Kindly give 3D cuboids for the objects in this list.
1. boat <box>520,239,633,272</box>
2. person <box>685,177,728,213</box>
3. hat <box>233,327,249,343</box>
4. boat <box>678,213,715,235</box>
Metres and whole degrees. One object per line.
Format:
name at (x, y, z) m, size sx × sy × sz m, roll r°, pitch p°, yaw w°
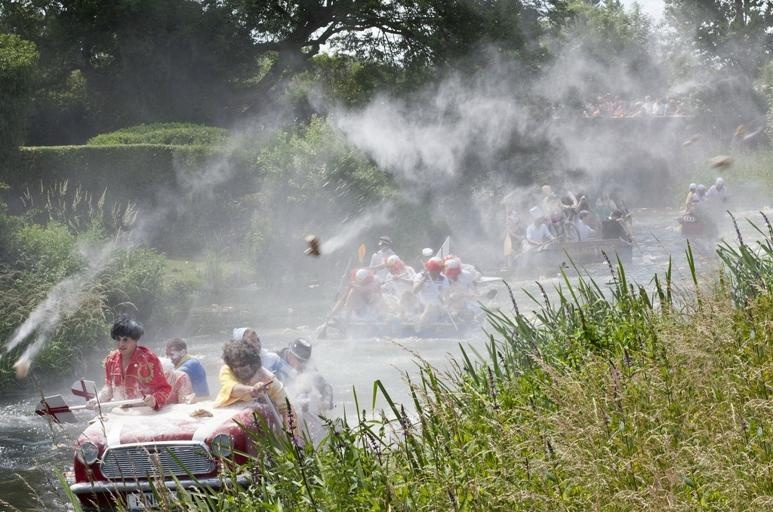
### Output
boat at (5.887, -0.020, 30.393) m, size 3.620 × 1.047 × 1.113 m, roll -5°, pitch 1°, yaw -15°
person at (12.094, -2.206, 36.060) m, size 1.643 × 1.235 × 1.348 m, roll -7°, pitch -7°, yaw -45°
hat at (-2.881, 1.590, 19.036) m, size 0.251 × 0.196 × 0.349 m, roll -11°, pitch -14°, yaw -8°
boat at (11.713, -1.109, 36.493) m, size 0.754 × 0.919 × 1.337 m, roll -8°, pitch -7°, yaw -39°
